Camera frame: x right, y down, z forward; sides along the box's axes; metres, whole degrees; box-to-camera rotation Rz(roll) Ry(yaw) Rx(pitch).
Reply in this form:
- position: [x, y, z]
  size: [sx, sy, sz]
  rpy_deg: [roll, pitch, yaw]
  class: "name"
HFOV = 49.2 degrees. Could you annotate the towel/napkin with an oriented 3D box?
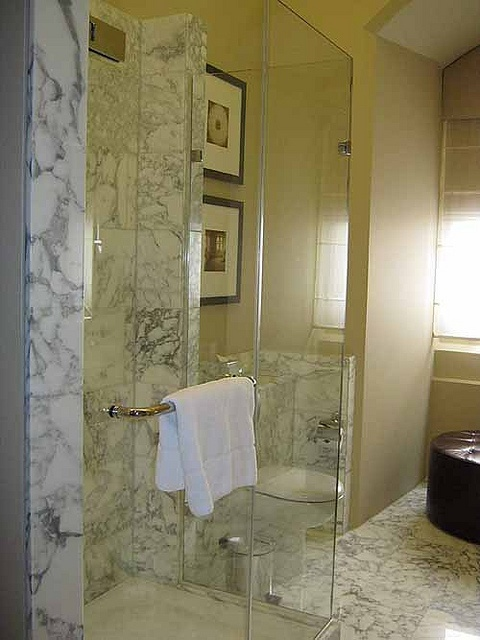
- position: [-0.057, 0.296, 1.312]
  size: [0.112, 0.275, 0.258]
  rpy_deg: [3, 9, 45]
  class: "towel/napkin"
